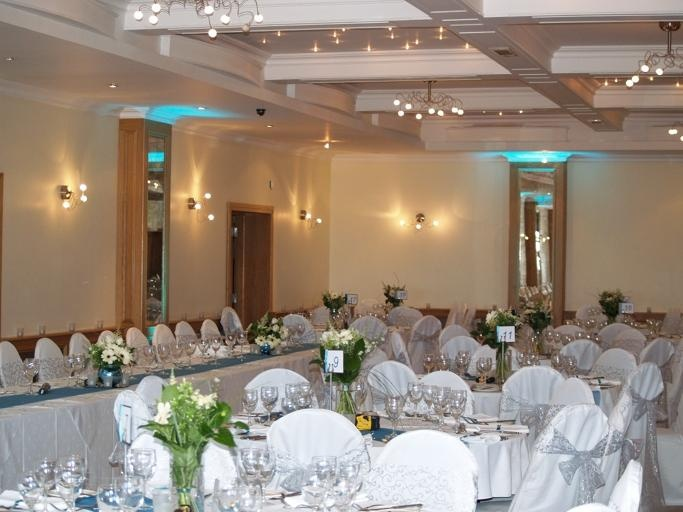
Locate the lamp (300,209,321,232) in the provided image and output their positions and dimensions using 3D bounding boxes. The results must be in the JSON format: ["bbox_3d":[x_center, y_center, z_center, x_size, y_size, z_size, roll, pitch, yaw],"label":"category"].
[{"bbox_3d":[-0.609,-0.840,13.599,0.157,0.388,0.913,-2,-14,18],"label":"lamp"}]

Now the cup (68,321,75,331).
[{"bbox_3d":[-3.801,0.991,8.496,0.090,0.118,0.097,2,-2,0],"label":"cup"}]

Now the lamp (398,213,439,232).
[{"bbox_3d":[1.824,-0.801,13.934,0.908,0.346,0.117,-1,0,9],"label":"lamp"}]

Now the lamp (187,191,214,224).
[{"bbox_3d":[-2.470,-0.873,10.499,0.207,0.660,0.561,1,0,28],"label":"lamp"}]

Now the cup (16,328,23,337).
[{"bbox_3d":[-4.152,0.974,7.775,0.079,0.139,0.075,2,2,0],"label":"cup"}]

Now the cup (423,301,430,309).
[{"bbox_3d":[2.006,1.124,13.881,0.108,0.143,0.116,1,-4,0],"label":"cup"}]

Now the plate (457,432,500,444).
[{"bbox_3d":[0.919,1.186,3.928,0.301,0.069,0.113,0,-1,-24],"label":"plate"}]

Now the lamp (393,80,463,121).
[{"bbox_3d":[1.388,-2.500,9.728,0.921,0.483,0.918,5,-5,-42],"label":"lamp"}]

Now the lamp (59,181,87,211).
[{"bbox_3d":[-3.774,-0.864,8.527,0.125,0.378,0.522,-1,-1,20],"label":"lamp"}]

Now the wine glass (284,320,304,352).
[{"bbox_3d":[-0.648,1.010,8.067,0.277,0.493,0.287,-1,-3,18],"label":"wine glass"}]

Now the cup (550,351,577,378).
[{"bbox_3d":[2.177,1.028,5.848,0.234,0.281,0.234,0,-2,0],"label":"cup"}]

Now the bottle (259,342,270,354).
[{"bbox_3d":[-0.868,1.036,6.892,0.097,0.098,0.119,3,5,7],"label":"bottle"}]
